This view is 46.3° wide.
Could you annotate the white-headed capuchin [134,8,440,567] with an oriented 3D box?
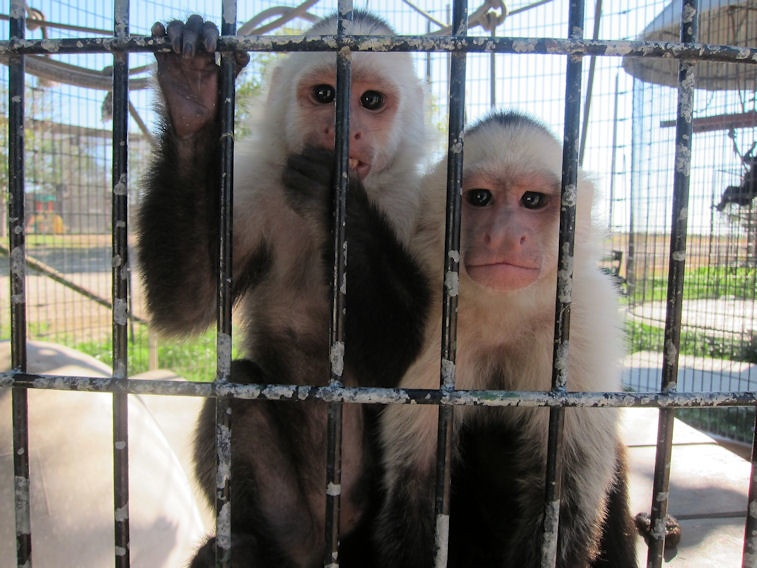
[{"bbox_3d":[-0.374,0.247,5.405,1.441,3.349,2.177,1,21,-9],"label":"white-headed capuchin"}]
